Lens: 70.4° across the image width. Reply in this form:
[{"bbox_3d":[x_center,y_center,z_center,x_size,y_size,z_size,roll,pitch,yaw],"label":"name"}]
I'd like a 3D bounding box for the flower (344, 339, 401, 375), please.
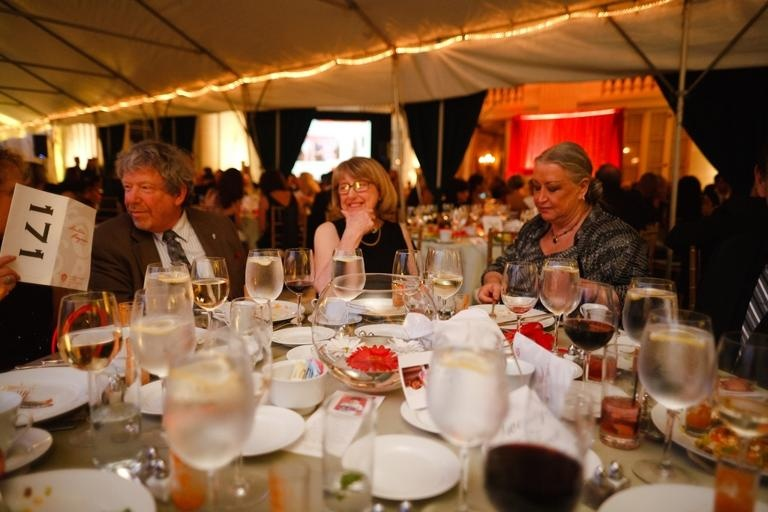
[{"bbox_3d":[-0.036,0.333,1.795,0.107,0.028,0.106,-9,29,-23],"label":"flower"}]

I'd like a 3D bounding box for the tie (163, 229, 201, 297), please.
[{"bbox_3d":[-0.930,0.024,2.471,0.071,0.321,0.087,-22,0,9],"label":"tie"}]

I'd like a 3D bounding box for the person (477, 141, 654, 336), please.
[{"bbox_3d":[1.044,-0.111,3.273,0.759,1.016,1.199,-8,9,-21],"label":"person"}]

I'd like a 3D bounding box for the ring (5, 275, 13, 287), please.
[{"bbox_3d":[-1.512,0.095,2.179,0.033,0.034,0.011,5,34,-19],"label":"ring"}]
